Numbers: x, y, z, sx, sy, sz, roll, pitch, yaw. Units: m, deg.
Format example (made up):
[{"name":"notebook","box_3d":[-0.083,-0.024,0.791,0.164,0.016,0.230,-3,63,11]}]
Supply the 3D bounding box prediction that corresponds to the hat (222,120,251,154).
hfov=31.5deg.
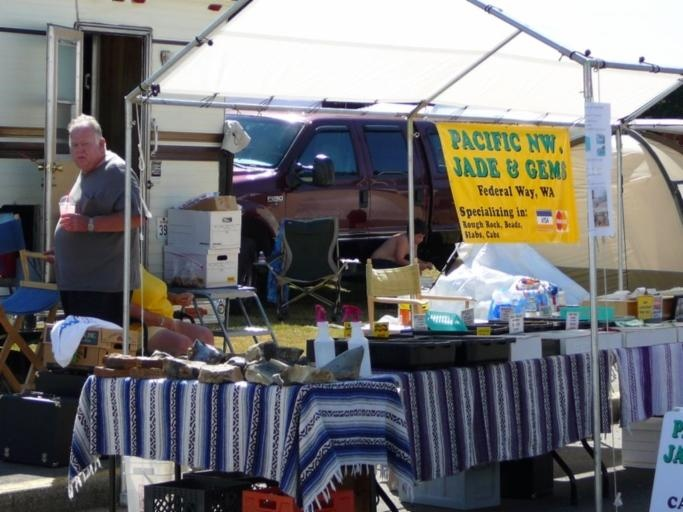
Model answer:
[{"name":"hat","box_3d":[-1.068,-1.159,11.855,0.299,0.283,0.126,-35,24,-15]}]

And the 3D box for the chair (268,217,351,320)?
[{"name":"chair","box_3d":[-0.327,0.081,12.886,0.949,1.173,0.903,-5,15,-28]}]

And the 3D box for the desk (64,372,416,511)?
[{"name":"desk","box_3d":[-0.588,1.052,6.944,1.962,0.704,0.448,-2,-3,21]}]

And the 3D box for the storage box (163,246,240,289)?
[{"name":"storage box","box_3d":[-1.099,0.123,11.003,0.536,0.349,0.547,1,-5,4]}]

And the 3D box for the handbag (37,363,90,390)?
[{"name":"handbag","box_3d":[-2.001,0.880,8.800,0.315,0.239,0.193,10,18,25]}]

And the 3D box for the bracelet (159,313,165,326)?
[{"name":"bracelet","box_3d":[-1.353,0.494,9.161,0.049,0.070,0.029,8,9,4]}]

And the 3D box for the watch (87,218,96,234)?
[{"name":"watch","box_3d":[-1.767,-0.208,8.631,0.054,0.085,0.087,1,-17,-3]}]

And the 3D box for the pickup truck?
[{"name":"pickup truck","box_3d":[0.170,-0.546,13.826,3.422,1.440,1.885,1,-1,-34]}]
